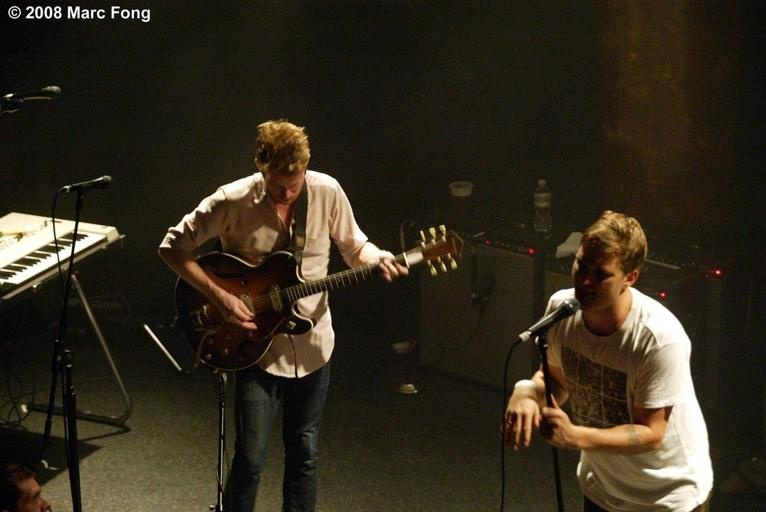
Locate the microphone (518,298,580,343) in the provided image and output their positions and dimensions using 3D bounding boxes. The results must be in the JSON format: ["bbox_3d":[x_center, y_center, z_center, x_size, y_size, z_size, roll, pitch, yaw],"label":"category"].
[{"bbox_3d":[0.708,0.262,2.798,0.220,0.183,0.322,3,2,20],"label":"microphone"}]

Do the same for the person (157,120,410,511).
[{"bbox_3d":[-0.603,0.371,3.723,1.181,2.222,0.621,2,2,-19],"label":"person"}]

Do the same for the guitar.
[{"bbox_3d":[-0.389,0.191,3.660,1.780,0.768,0.215,-16,0,6],"label":"guitar"}]
